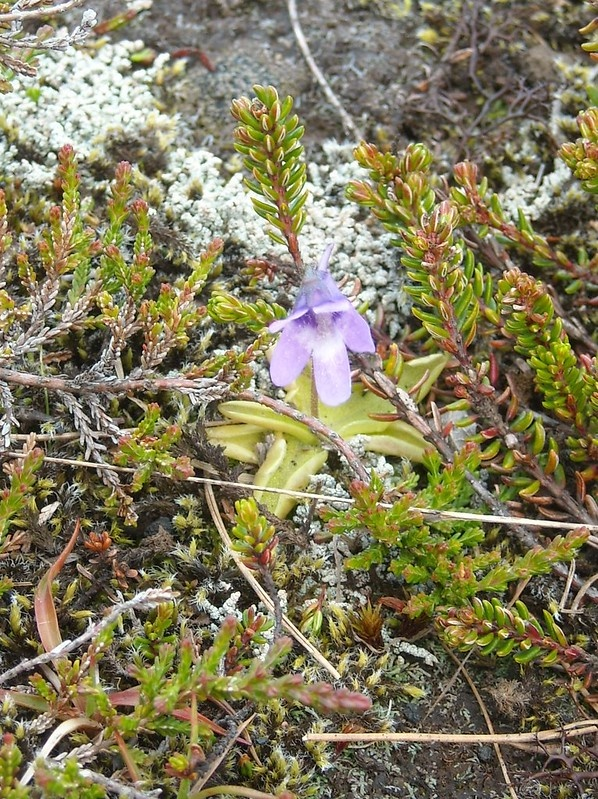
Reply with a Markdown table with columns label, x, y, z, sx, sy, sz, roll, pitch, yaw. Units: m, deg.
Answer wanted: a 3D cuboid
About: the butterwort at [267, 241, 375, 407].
| label | x | y | z | sx | sy | sz | roll | pitch | yaw |
| --- | --- | --- | --- | --- | --- | --- | --- | --- | --- |
| butterwort | 0.015 | -0.236 | 2.678 | 0.289 | 0.444 | 0.219 | -5 | 73 | -8 |
